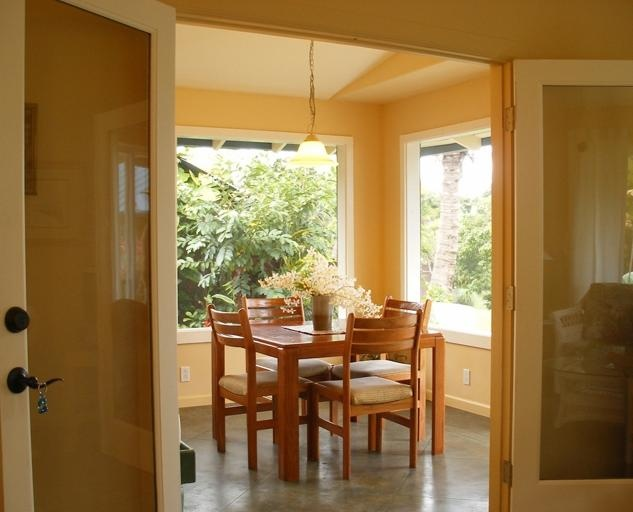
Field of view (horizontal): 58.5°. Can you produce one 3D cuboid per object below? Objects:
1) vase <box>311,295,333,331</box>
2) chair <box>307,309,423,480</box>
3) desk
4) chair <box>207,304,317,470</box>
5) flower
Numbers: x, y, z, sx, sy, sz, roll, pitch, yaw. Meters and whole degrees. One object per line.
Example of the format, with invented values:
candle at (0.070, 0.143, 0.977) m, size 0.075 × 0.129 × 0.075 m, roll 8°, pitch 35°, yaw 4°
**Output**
vase at (0.053, 0.392, 4.108) m, size 0.207 × 0.272 × 0.189 m, roll 1°, pitch 1°, yaw 26°
chair at (0.340, 0.877, 3.860) m, size 0.748 × 1.079 × 0.812 m, roll -1°, pitch -3°, yaw 34°
desk at (0.323, 0.936, 4.503) m, size 1.625 × 0.868 × 1.955 m, roll 0°, pitch 2°, yaw -2°
chair at (-0.401, 0.881, 4.050) m, size 0.646 × 1.016 × 0.604 m, roll 0°, pitch -3°, yaw -41°
flower at (0.017, 0.178, 4.164) m, size 0.729 × 0.269 × 0.430 m, roll 8°, pitch 8°, yaw 25°
